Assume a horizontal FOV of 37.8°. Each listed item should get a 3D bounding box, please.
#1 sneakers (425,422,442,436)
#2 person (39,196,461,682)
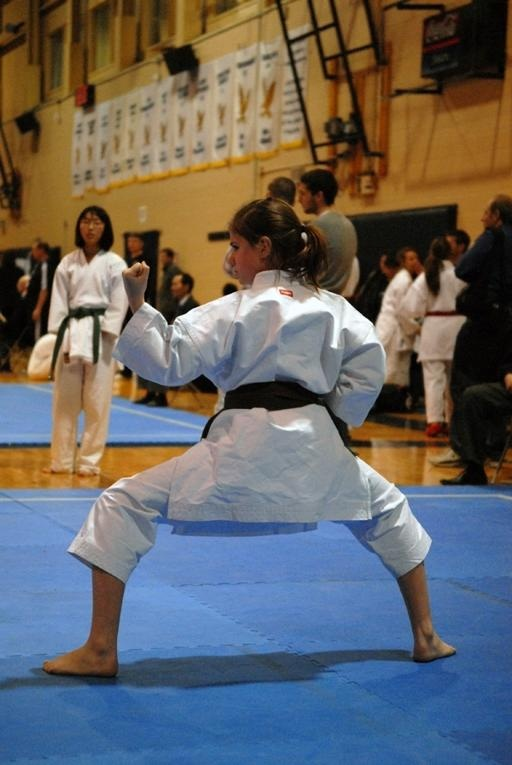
[{"bbox_3d":[1.657,0.446,7.034,0.125,0.118,0.126,2,-15,1],"label":"sneakers"},{"bbox_3d":[-0.011,0.127,1.764,0.931,1.144,0.342,-2,6,-29],"label":"person"}]
